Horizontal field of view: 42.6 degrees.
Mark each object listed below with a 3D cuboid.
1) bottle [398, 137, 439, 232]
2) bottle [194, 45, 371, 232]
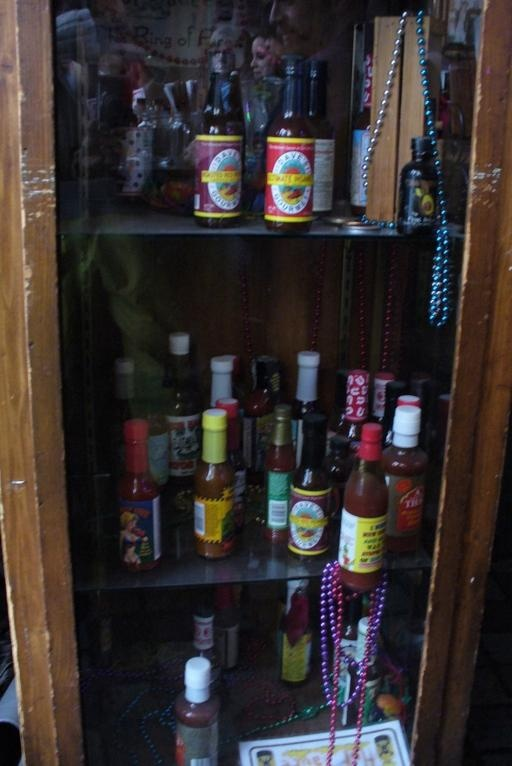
[{"bbox_3d":[0.205,-0.247,0.829,0.052,0.112,0.027,10,21,29],"label":"bottle"},{"bbox_3d":[0.064,-0.304,0.837,0.081,0.202,0.155,6,19,19],"label":"bottle"}]
